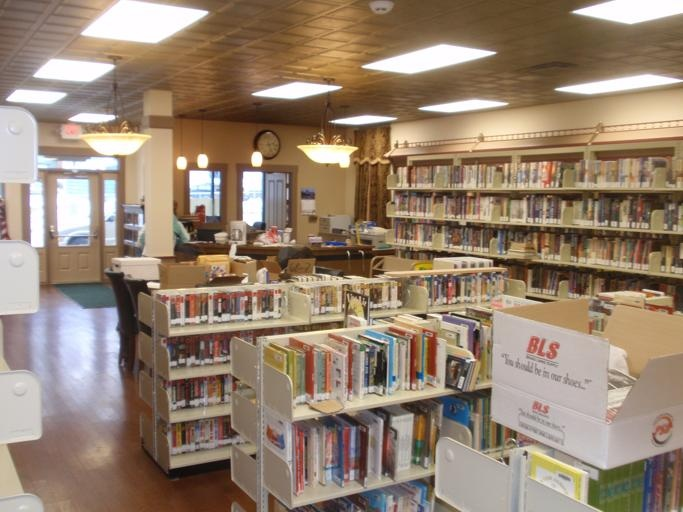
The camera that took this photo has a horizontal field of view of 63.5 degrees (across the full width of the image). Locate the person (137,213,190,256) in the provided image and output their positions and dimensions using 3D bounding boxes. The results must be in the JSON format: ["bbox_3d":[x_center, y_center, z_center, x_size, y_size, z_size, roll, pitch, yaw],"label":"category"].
[{"bbox_3d":[-2.961,-0.386,9.189,0.629,1.086,1.060,3,3,-22],"label":"person"}]

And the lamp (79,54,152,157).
[{"bbox_3d":[-3.317,-1.941,7.865,0.683,1.109,4.171,-3,9,-24],"label":"lamp"}]

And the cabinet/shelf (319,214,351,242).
[{"bbox_3d":[-0.131,-0.616,12.407,0.735,0.524,1.322,1,8,-3],"label":"cabinet/shelf"}]

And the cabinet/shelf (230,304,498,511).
[{"bbox_3d":[0.159,0.963,3.365,1.740,0.975,0.778,-2,2,-34],"label":"cabinet/shelf"}]

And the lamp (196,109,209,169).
[{"bbox_3d":[-3.002,-2.426,11.825,0.277,1.091,1.146,-1,9,-13],"label":"lamp"}]

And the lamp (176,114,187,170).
[{"bbox_3d":[-3.423,-2.385,11.782,0.245,1.116,0.960,-2,9,-16],"label":"lamp"}]
